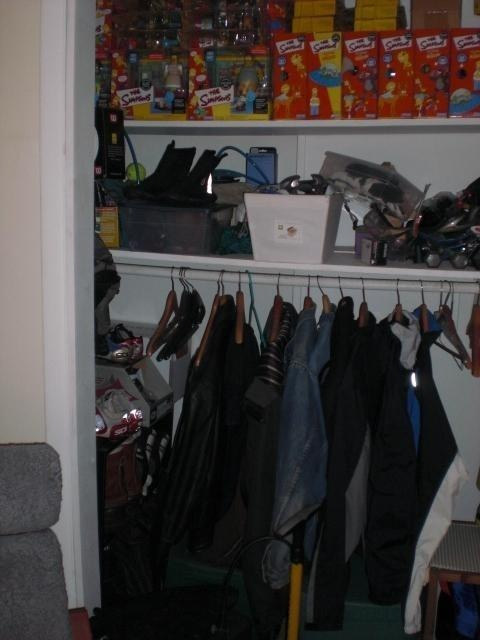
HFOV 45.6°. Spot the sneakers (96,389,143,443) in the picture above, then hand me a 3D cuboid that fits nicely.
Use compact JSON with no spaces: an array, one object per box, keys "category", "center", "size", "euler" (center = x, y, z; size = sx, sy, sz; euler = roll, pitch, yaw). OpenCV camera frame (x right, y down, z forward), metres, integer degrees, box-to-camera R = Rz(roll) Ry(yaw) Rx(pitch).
[{"category":"sneakers","center":[-0.324,0.247,1.503],"size":[0.083,0.053,0.116],"euler":[-11,32,-41]}]

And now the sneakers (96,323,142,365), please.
[{"category":"sneakers","center":[-0.373,0.073,1.705],"size":[0.116,0.055,0.091],"euler":[5,11,29]}]
